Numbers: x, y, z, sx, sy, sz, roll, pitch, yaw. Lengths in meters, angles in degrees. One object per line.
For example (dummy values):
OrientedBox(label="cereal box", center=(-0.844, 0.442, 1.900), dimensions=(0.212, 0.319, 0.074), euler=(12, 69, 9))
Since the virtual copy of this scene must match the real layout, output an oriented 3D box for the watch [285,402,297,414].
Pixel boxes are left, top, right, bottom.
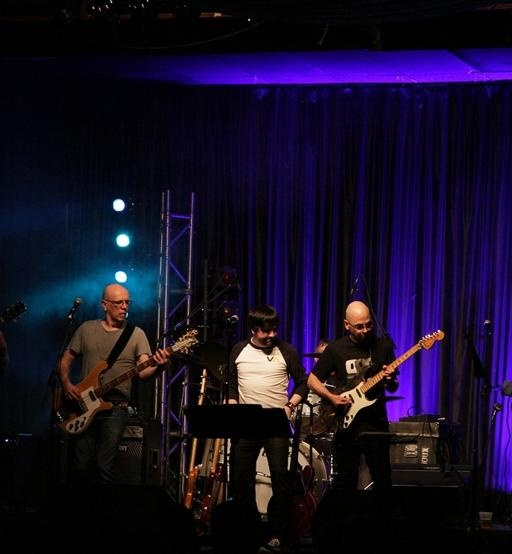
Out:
OrientedBox(label="watch", center=(0.227, 0.882, 4.450), dimensions=(0.058, 0.029, 0.061), euler=(-24, 20, -2))
